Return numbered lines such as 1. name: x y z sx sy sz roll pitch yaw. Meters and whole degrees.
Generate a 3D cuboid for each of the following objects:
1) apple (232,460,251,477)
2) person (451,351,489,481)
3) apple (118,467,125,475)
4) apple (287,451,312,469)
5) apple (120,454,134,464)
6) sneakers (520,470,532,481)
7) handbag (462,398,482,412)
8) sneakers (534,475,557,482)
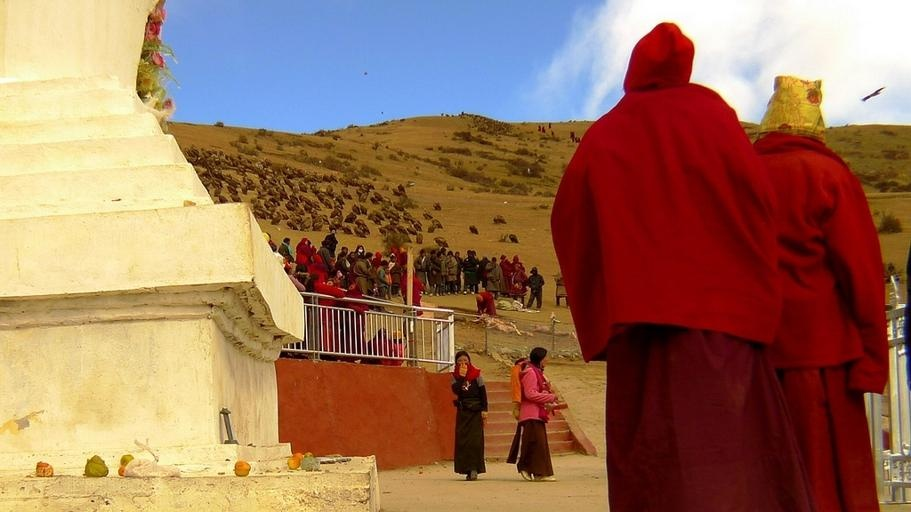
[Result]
1. apple: -1.421 1.419 9.374 0.109 0.092 0.094 4 -7 10
2. person: 0.150 1.804 16.081 0.425 1.529 0.537 -5 -14 -2
3. apple: -2.215 1.425 9.329 0.046 0.042 0.052 4 28 -43
4. apple: -1.128 1.470 10.101 0.146 0.061 0.137 -2 0 -2
5. apple: -2.192 1.355 9.393 0.083 0.077 0.077 0 -14 -17
6. sneakers: 0.766 2.405 15.361 0.114 0.117 0.364 -3 -13 -6
7. handbag: 0.189 1.710 16.118 0.151 0.092 0.182 1 2 12
8. sneakers: 0.973 2.397 15.146 0.202 0.068 0.074 -3 -5 10
